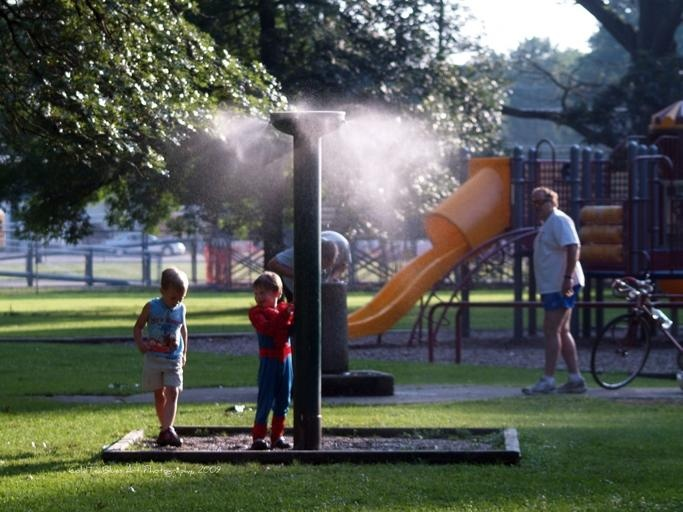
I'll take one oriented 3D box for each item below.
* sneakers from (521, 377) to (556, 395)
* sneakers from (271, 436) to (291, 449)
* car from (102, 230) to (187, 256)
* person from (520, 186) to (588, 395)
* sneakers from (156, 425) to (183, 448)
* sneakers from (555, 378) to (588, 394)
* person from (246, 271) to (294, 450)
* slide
[{"bbox_3d":[3.191,2.085,25.089,0.510,0.269,0.254,0,-3,4],"label":"sneakers"},{"bbox_3d":[-0.900,2.704,22.571,0.257,0.170,0.146,-3,-3,9],"label":"sneakers"},{"bbox_3d":[-7.765,-0.539,59.741,2.518,0.889,1.194,-1,0,5],"label":"car"},{"bbox_3d":[3.451,0.540,24.964,0.887,3.351,0.522,0,-1,8],"label":"person"},{"bbox_3d":[-2.523,2.626,22.626,0.273,0.240,0.528,1,-2,-3],"label":"sneakers"},{"bbox_3d":[3.711,2.094,25.104,0.499,0.277,0.210,1,-3,-4],"label":"sneakers"},{"bbox_3d":[-1.048,1.500,22.579,0.636,2.569,0.557,1,-1,-3],"label":"person"},{"bbox_3d":[1.940,-0.154,35.513,5.100,1.508,1.013,-42,21,-23],"label":"slide"}]
